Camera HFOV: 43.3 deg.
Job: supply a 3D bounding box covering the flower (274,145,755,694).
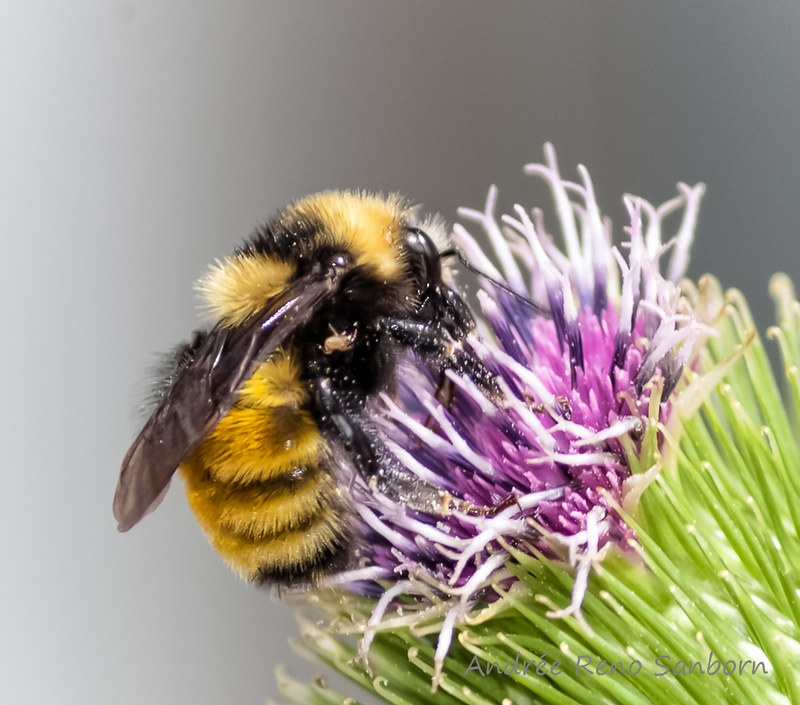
[{"bbox_3d":[0.144,0.046,1.326,0.622,0.787,0.339,-22,-42,35],"label":"flower"}]
